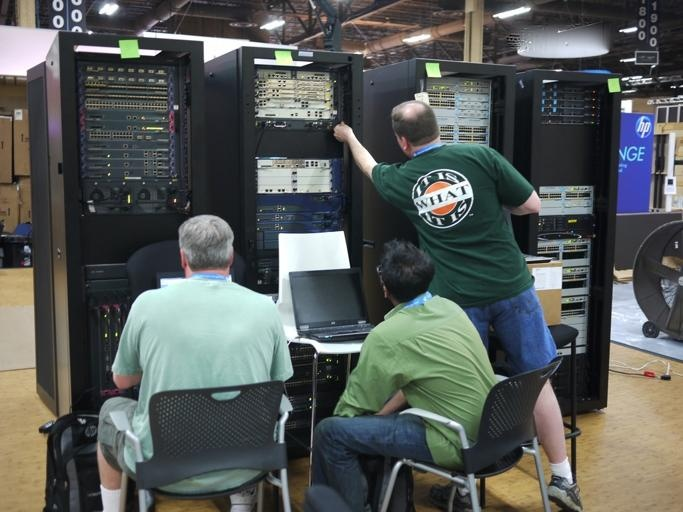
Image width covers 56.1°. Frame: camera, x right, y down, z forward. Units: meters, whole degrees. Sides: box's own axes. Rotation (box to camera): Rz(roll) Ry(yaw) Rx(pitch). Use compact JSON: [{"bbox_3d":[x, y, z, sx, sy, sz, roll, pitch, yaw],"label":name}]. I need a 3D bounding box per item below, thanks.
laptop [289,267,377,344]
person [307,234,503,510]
[{"bbox_3d":[-0.075,0.233,3.662,0.440,0.348,0.376,-2,3,-27],"label":"laptop"},{"bbox_3d":[0.405,0.483,3.558,1.102,1.634,0.909,5,8,33],"label":"person"}]
